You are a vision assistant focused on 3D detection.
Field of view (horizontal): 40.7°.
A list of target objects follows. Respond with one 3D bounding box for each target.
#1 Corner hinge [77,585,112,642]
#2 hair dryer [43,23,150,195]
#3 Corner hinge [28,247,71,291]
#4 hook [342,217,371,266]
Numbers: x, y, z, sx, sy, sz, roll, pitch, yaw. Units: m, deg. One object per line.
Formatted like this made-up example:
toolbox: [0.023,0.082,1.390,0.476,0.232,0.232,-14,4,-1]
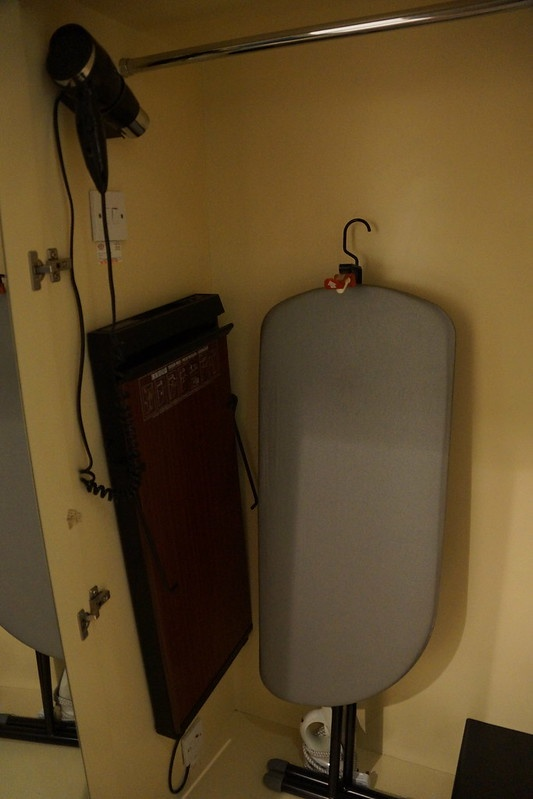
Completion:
Corner hinge: [-0.336,0.413,1.390,0.070,0.083,0.027,12,59,34]
hair dryer: [-0.264,-0.452,1.183,0.084,0.231,0.215,-10,-9,15]
Corner hinge: [-0.366,-0.222,1.223,0.026,0.068,0.104,1,16,14]
hook: [0.196,-0.358,1.638,0.073,0.108,0.079,5,17,25]
